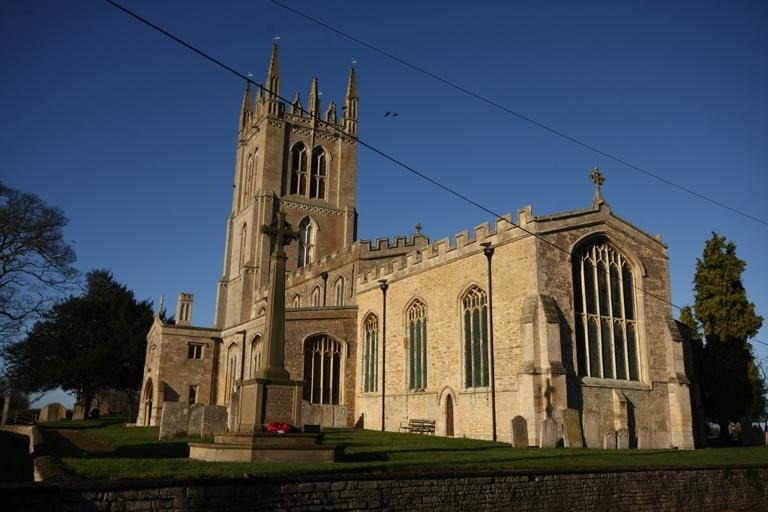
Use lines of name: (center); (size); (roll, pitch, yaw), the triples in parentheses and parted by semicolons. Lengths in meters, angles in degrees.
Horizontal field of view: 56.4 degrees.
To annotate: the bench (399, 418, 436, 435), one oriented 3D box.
bench: (1.938, 10.073, 42.626); (0.488, 1.096, 2.855); (16, -25, -35)
